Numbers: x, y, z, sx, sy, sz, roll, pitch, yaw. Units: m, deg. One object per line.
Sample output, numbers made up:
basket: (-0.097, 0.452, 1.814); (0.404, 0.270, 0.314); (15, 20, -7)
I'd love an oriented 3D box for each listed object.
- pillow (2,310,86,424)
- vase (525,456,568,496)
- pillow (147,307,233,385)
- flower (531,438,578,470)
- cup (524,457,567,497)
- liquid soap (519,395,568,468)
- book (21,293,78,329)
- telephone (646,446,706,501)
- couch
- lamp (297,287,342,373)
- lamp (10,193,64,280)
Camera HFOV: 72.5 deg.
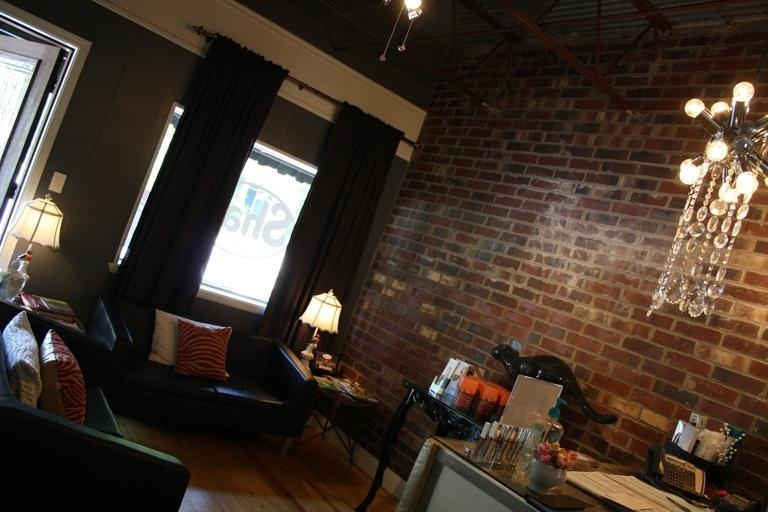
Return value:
pillow: (-2.008, 0.668, 3.080); (0.295, 0.221, 0.575); (24, 12, -43)
vase: (0.847, 1.119, 2.707); (0.174, 0.125, 0.176); (3, -9, 3)
pillow: (-1.766, 0.843, 4.716); (0.580, 0.483, 0.265); (12, -7, -26)
flower: (0.895, 1.047, 2.729); (0.153, 0.072, 0.170); (7, -2, -42)
cup: (0.849, 1.122, 2.706); (0.171, 0.128, 0.178); (8, -10, 1)
liquid soap: (0.977, 0.984, 3.077); (0.174, 0.349, 0.177); (23, 30, 23)
book: (-2.683, 0.489, 4.277); (0.385, 0.091, 0.386); (17, -2, -7)
telephone: (1.816, 1.335, 3.250); (0.354, 0.122, 0.368); (-7, 13, 25)
couch: (-1.634, 1.137, 4.786); (1.785, 0.913, 0.795); (22, -9, -34)
lamp: (-0.642, 0.785, 5.393); (0.398, 0.744, 0.387); (22, -7, -31)
lamp: (-2.932, -0.144, 4.421); (0.349, 0.575, 0.495); (15, 4, -31)
